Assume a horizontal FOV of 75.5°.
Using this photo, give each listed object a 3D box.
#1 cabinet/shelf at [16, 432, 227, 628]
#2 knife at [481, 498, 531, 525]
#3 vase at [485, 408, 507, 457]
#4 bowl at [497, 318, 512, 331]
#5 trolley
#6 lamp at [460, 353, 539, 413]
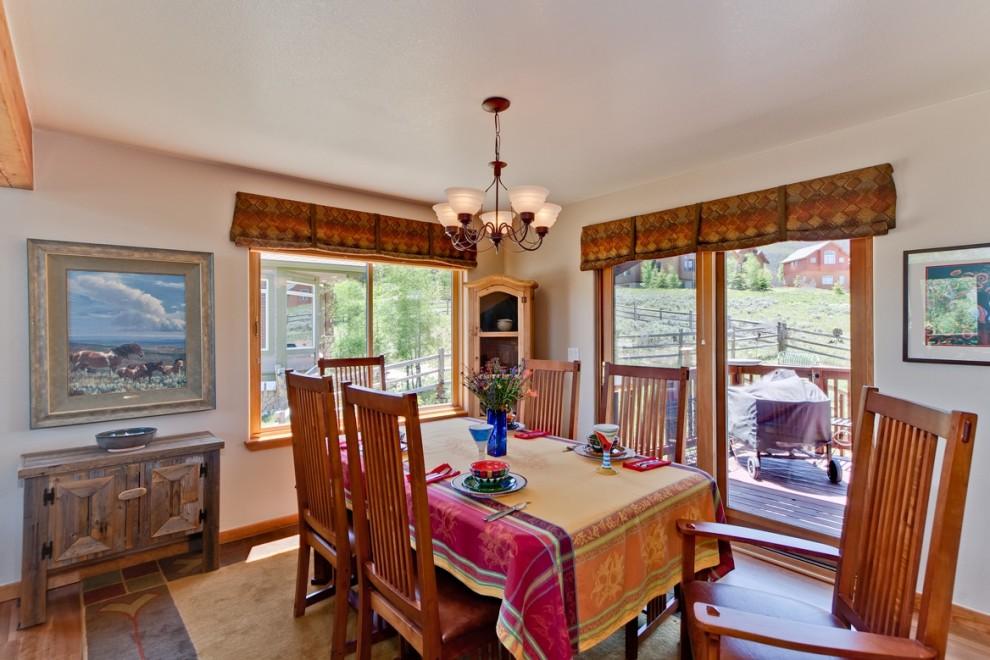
[{"bbox_3d":[-2.430,1.283,4.084,1.177,0.903,0.486,2,-6,-39],"label":"cabinet/shelf"},{"bbox_3d":[0.062,0.900,3.149,0.065,0.020,0.380,1,2,36],"label":"knife"},{"bbox_3d":[-0.008,0.622,3.824,0.121,0.278,0.110,-7,-17,33],"label":"vase"},{"bbox_3d":[0.098,-0.048,5.806,0.113,0.086,0.108,0,-7,0],"label":"bowl"},{"bbox_3d":[2.209,0.702,5.037,0.666,0.820,1.020,1,-1,-3],"label":"trolley"},{"bbox_3d":[0.044,0.349,4.024,0.457,0.323,0.502,1,-9,-4],"label":"lamp"}]
